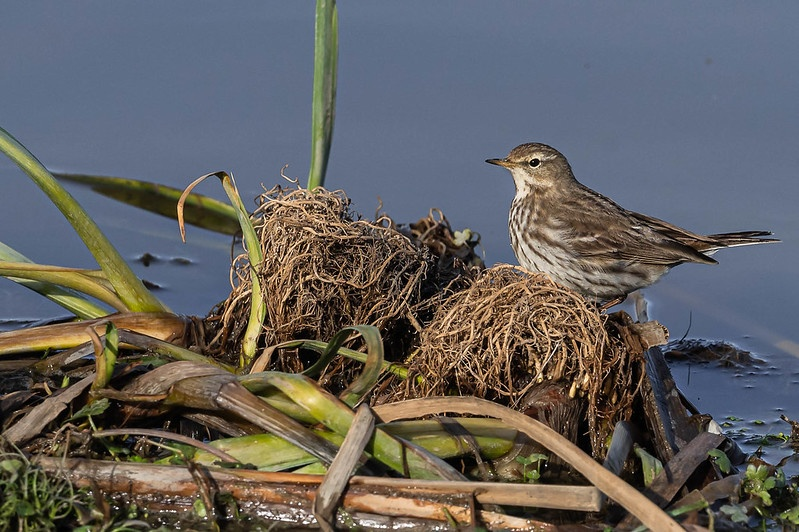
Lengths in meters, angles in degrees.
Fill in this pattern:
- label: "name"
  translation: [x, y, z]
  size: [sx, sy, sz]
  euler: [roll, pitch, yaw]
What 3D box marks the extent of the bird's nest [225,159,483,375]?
- label: "bird's nest"
  translation: [-0.227, 0.035, 4.352]
  size: [1.269, 1.010, 0.803]
  euler: [14, -13, -19]
